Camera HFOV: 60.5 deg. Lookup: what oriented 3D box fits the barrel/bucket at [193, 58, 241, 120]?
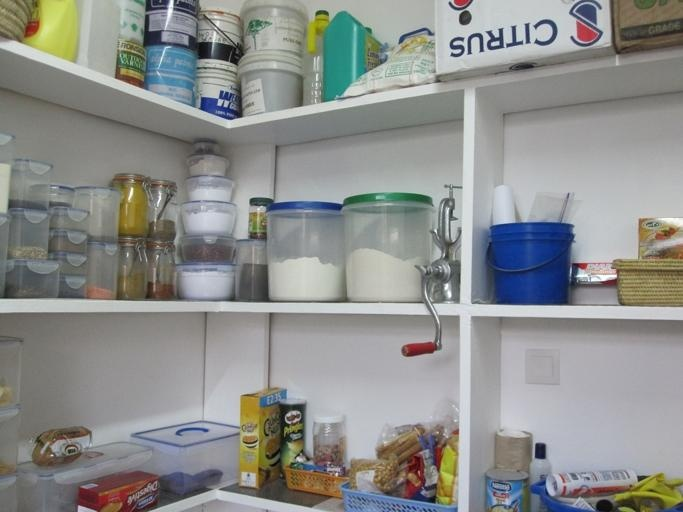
[{"bbox_3d":[-0.397,-0.545,1.976,0.173,0.190,0.172,1,-5,0],"label":"barrel/bucket"}]
